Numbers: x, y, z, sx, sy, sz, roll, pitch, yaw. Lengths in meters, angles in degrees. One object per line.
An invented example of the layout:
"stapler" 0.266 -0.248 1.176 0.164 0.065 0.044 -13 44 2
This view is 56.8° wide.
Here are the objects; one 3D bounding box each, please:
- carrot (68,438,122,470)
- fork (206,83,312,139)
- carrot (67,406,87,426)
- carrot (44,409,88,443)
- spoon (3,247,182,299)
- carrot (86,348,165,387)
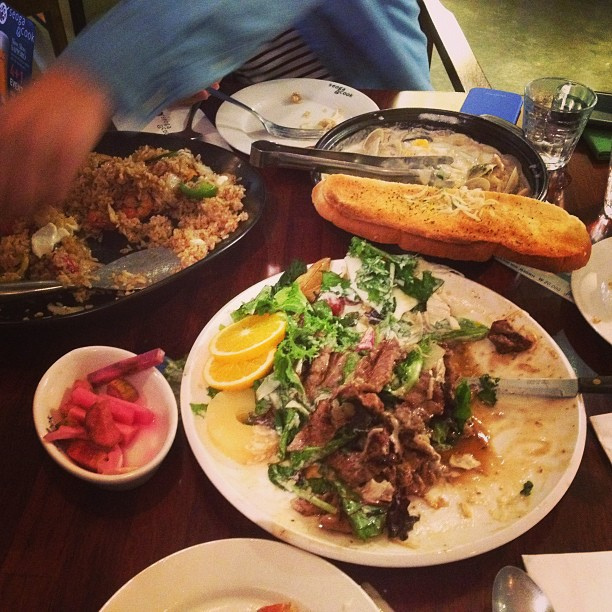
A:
"carrot" -0.496 0.351 1.333 0.108 0.034 0.068 11 48 -20
"fork" -0.195 -0.807 2.367 0.562 0.064 0.066 31 59 19
"carrot" -0.555 0.266 1.376 0.049 0.012 0.042 23 69 2
"carrot" -0.576 0.279 1.362 0.092 0.049 0.097 -14 54 -8
"spoon" -0.615 -0.114 1.735 0.528 0.038 0.150 -10 39 -22
"carrot" -0.460 0.164 1.484 0.227 0.043 0.033 -18 54 12
